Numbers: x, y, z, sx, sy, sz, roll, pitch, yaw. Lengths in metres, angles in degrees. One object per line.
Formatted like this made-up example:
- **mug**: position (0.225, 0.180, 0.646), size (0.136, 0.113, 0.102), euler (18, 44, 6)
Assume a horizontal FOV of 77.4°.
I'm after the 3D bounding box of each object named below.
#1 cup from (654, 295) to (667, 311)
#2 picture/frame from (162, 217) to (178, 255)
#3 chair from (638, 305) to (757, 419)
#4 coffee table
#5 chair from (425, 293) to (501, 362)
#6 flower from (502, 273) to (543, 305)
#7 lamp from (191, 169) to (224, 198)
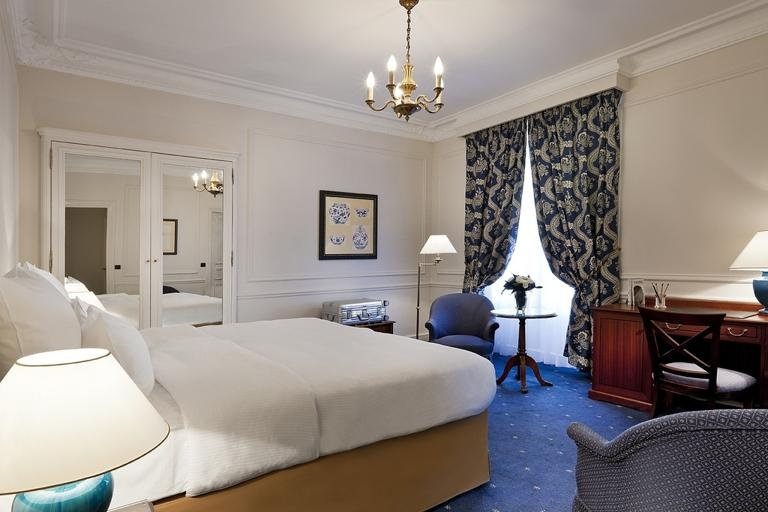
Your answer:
- **cup**: position (2.740, 0.470, 4.760), size (0.157, 0.181, 0.175), euler (-2, -4, 22)
- **picture/frame**: position (-2.453, -0.219, 5.501), size (0.152, 0.406, 0.063), euler (0, 8, -31)
- **chair**: position (2.756, 0.974, 4.213), size (0.847, 1.085, 1.018), euler (10, 8, 43)
- **coffee table**: position (1.562, 1.050, 5.618), size (0.808, 0.899, 0.821), euler (-2, -4, 39)
- **chair**: position (0.920, 0.820, 5.664), size (0.727, 0.916, 0.826), euler (0, -13, 3)
- **flower**: position (1.598, 0.378, 5.553), size (0.388, 0.357, 0.398), euler (-3, -6, 34)
- **lamp**: position (-2.072, -0.828, 5.693), size (0.291, 0.325, 0.287), euler (-2, -6, 23)
